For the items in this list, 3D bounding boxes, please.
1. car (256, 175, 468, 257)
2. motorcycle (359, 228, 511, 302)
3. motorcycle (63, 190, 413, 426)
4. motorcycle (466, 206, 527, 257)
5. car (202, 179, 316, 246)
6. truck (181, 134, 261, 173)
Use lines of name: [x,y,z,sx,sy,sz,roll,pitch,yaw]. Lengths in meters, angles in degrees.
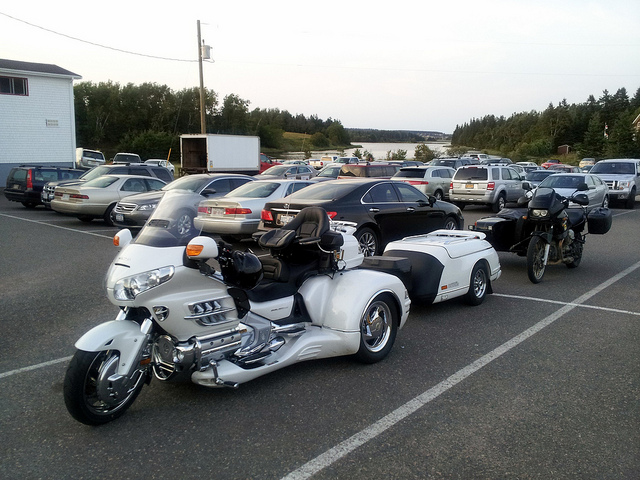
car: [1.071,-0.800,10.650,4.388,1.501,1.949,-8,9,-39]
motorcycle: [1.727,0.395,6.772,2.189,0.705,1.073,-8,10,-42]
motorcycle: [-0.821,0.414,5.169,3.751,2.071,1.663,-5,5,-39]
motorcycle: [4.144,-0.206,9.462,1.470,0.718,0.858,-7,8,-37]
car: [-1.858,-0.886,11.698,1.365,1.135,3.301,6,16,38]
truck: [-6.501,-5.411,28.970,2.502,3.113,4.985,7,13,29]
